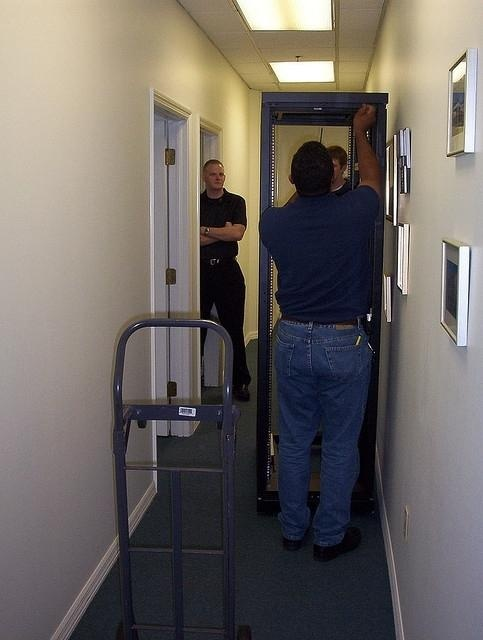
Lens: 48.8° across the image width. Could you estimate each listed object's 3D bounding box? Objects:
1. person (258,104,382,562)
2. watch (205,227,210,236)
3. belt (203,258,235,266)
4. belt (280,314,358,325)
[{"bbox_3d":[0.328,0.198,2.268,0.466,1.814,0.418,1,5,15],"label":"person"},{"bbox_3d":[-0.271,-0.702,4.270,0.035,0.059,0.032,-1,6,-6],"label":"watch"},{"bbox_3d":[-0.202,-0.470,4.433,0.224,0.062,0.049,-2,6,-13],"label":"belt"},{"bbox_3d":[0.315,0.003,2.228,0.337,0.031,0.109,3,8,22],"label":"belt"}]
